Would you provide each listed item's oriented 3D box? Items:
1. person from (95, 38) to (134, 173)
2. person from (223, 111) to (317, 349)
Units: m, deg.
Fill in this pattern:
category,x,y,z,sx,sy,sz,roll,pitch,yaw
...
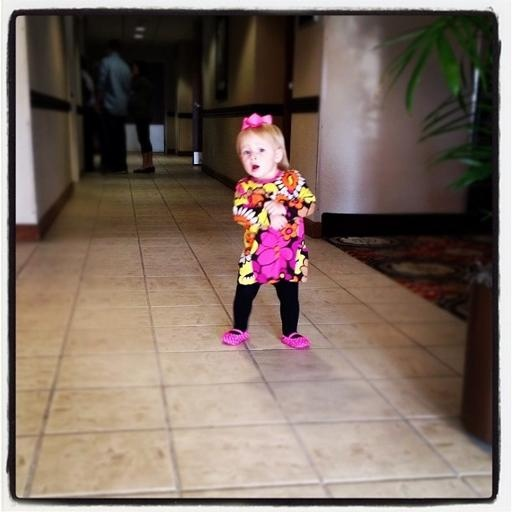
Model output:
category,x,y,z,sx,sy,sz,roll,pitch,yaw
person,-2.055,-2.112,6.780,0.456,1.751,1.346,-3,13,-17
person,0.038,-0.067,1.512,0.293,0.758,0.249,0,13,-4
